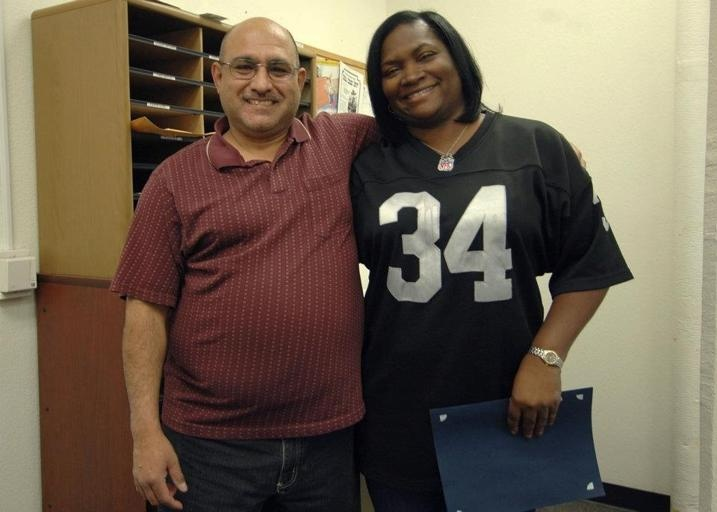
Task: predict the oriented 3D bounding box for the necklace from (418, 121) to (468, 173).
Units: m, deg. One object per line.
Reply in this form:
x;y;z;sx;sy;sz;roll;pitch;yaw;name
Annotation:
0.302;-0.375;2.061;0.188;0.198;0.027;3;-26;13;necklace

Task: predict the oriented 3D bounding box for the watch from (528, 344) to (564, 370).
0.629;0.333;2.013;0.102;0.066;0.091;34;-15;-28;watch
